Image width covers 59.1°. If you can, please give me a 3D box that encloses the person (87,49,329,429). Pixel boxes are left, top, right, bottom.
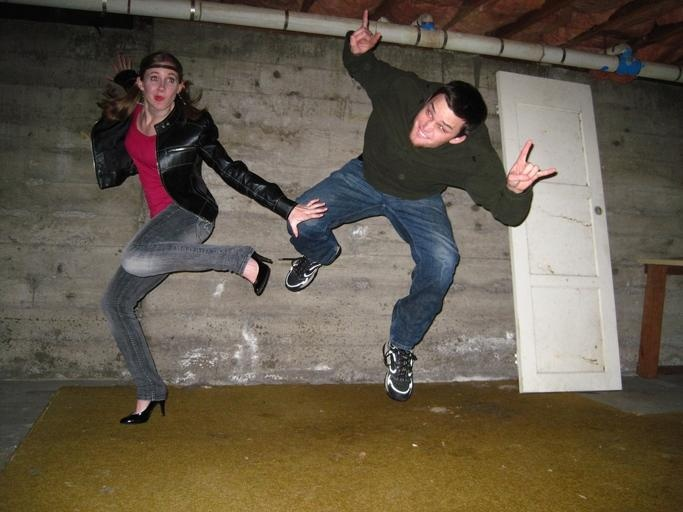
[{"bbox_3d":[-1.154,-0.243,4.498,1.306,2.447,1.078,-7,17,-27],"label":"person"}]

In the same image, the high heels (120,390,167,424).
[{"bbox_3d":[-1.329,1.064,4.107,0.304,0.183,0.114,0,-16,-12],"label":"high heels"}]
